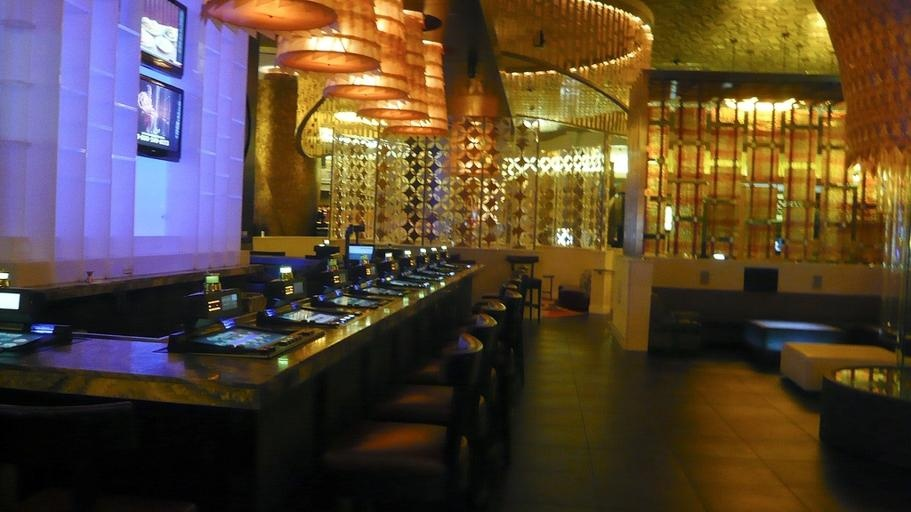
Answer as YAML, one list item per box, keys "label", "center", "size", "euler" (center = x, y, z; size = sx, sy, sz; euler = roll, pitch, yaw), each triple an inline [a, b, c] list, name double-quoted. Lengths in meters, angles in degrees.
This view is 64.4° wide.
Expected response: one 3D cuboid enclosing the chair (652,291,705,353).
- label: "chair"
  center: [3.312, 1.073, 10.871]
  size: [0.862, 1.031, 1.153]
  euler: [0, 1, 18]
